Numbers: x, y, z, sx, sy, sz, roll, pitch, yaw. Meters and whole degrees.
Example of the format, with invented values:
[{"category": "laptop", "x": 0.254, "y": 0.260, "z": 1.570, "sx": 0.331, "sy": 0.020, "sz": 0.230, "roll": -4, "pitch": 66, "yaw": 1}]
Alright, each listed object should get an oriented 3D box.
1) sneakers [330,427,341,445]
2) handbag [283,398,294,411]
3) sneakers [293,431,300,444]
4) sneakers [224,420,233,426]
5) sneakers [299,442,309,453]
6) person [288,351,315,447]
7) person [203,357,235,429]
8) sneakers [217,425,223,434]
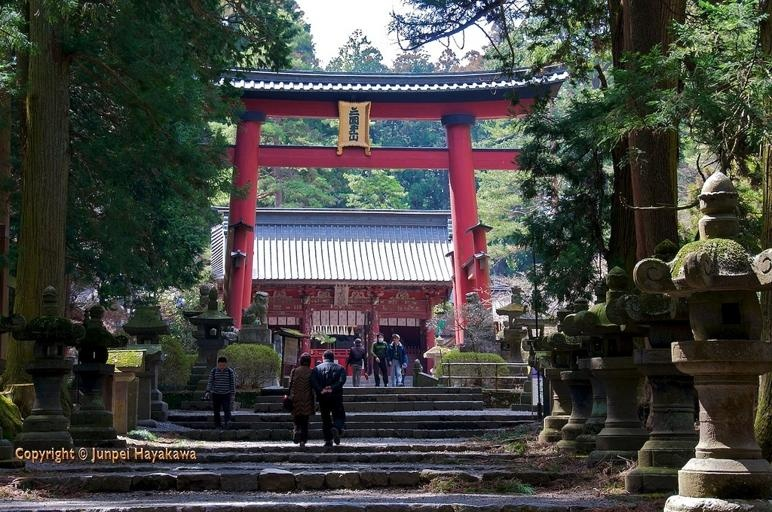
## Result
[{"category": "sneakers", "x": -0.828, "y": 3.035, "z": 17.974, "sx": 0.143, "sy": 0.364, "sz": 0.158, "roll": -5, "pitch": -9, "yaw": -2}, {"category": "handbag", "x": -1.648, "y": 2.503, "z": 17.929, "sx": 0.222, "sy": 0.297, "sz": 0.077, "roll": -3, "pitch": 26, "yaw": -15}, {"category": "sneakers", "x": -1.509, "y": 3.082, "z": 18.039, "sx": 0.105, "sy": 0.231, "sz": 0.100, "roll": 2, "pitch": 2, "yaw": -8}, {"category": "sneakers", "x": -3.099, "y": 3.301, "z": 20.945, "sx": 0.163, "sy": 0.153, "sz": 0.110, "roll": 1, "pitch": -7, "yaw": 7}, {"category": "sneakers", "x": -1.346, "y": 3.166, "z": 17.633, "sx": 0.135, "sy": 0.131, "sz": 0.136, "roll": 0, "pitch": -4, "yaw": 23}, {"category": "person", "x": -1.433, "y": 2.476, "z": 18.304, "sx": 0.434, "sy": 1.536, "sz": 1.246, "roll": -1, "pitch": -7, "yaw": -4}, {"category": "person", "x": -3.293, "y": 2.729, "z": 21.315, "sx": 0.514, "sy": 1.394, "sz": 1.689, "roll": -1, "pitch": -7, "yaw": -9}, {"category": "sneakers", "x": -3.214, "y": 3.359, "z": 20.637, "sx": 0.121, "sy": 0.214, "sz": 0.117, "roll": -9, "pitch": -51, "yaw": 5}]
